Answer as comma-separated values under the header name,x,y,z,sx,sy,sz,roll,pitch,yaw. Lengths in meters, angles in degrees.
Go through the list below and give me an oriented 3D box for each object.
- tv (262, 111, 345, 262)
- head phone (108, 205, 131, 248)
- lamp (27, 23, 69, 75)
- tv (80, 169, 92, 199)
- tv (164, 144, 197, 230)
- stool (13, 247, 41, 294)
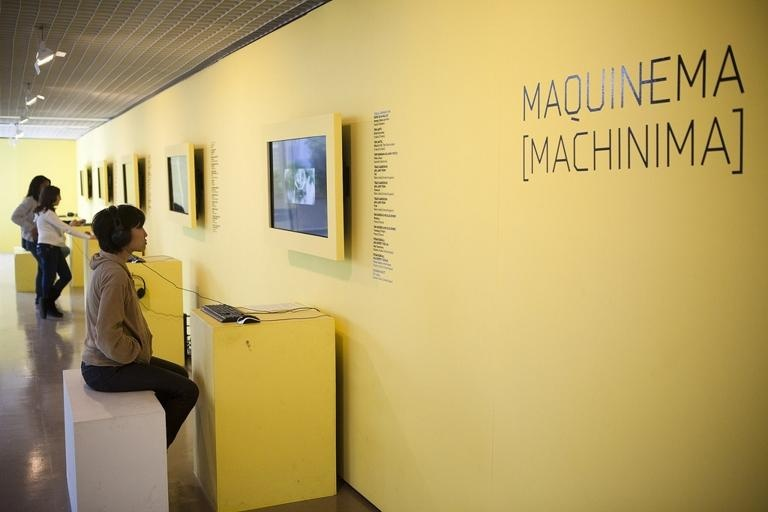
name,x,y,z,sx,sy,sz,roll,pitch,yaw
tv,-0.583,-0.506,4.140,0.075,0.890,0.972,-7,11,-36
head phone,-1.717,-0.198,3.769,0.114,0.272,0.297,-15,5,-23
lamp,-3.148,-1.981,5.455,0.280,0.397,0.319,-6,22,-5
tv,-7.828,-1.941,15.314,0.092,0.554,0.936,-4,10,-32
tv,-2.484,-0.850,6.880,0.995,0.972,0.106,9,13,43
stool,-6.377,0.278,10.735,0.740,0.779,0.786,3,-7,-36
